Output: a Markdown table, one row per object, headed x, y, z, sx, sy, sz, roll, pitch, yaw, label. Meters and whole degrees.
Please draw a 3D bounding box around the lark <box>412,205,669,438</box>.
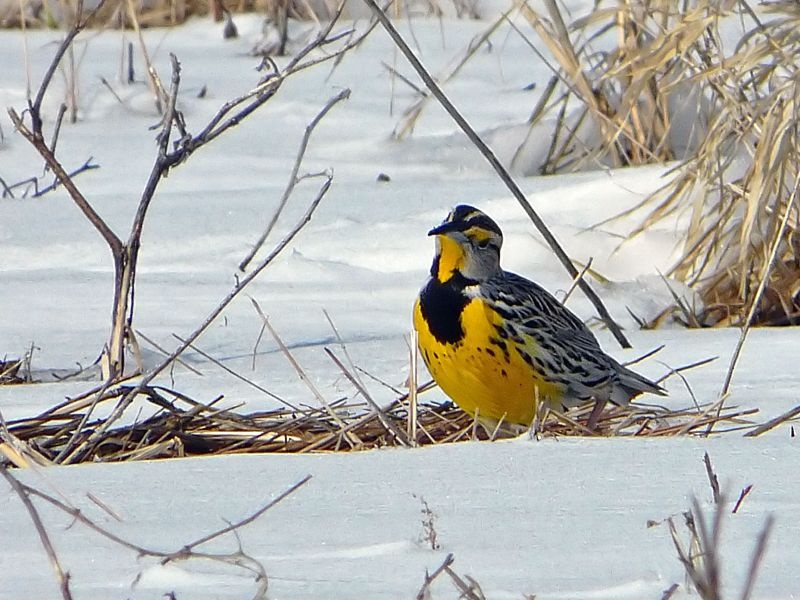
| x | y | z | sx | sy | sz | roll | pitch | yaw | label |
| --- | --- | --- | --- | --- | --- | --- | --- | --- | --- |
| 0.422 | 0.071 | 4.213 | 0.694 | 0.775 | 0.677 | -14 | 24 | -27 | lark |
